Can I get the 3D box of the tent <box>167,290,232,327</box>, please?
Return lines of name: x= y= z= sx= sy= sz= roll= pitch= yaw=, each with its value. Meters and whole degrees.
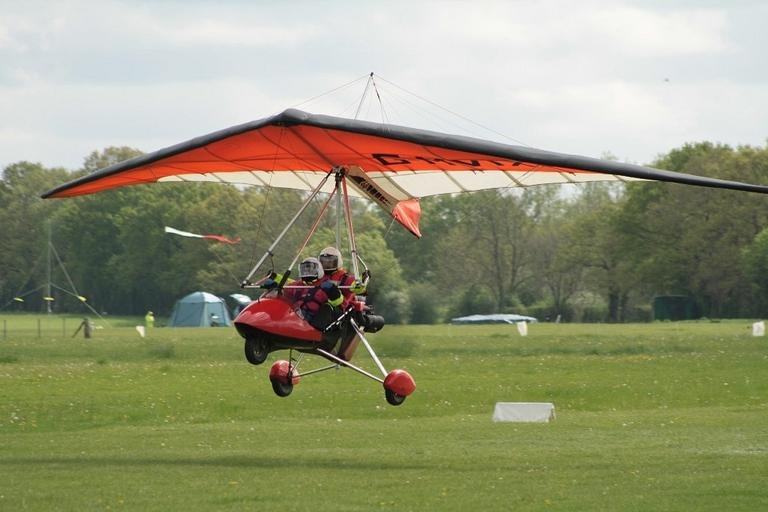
tent: x=-15.285 y=4.487 z=103.387 sx=4.570 sy=2.728 sz=2.111 roll=1 pitch=-3 yaw=-4
